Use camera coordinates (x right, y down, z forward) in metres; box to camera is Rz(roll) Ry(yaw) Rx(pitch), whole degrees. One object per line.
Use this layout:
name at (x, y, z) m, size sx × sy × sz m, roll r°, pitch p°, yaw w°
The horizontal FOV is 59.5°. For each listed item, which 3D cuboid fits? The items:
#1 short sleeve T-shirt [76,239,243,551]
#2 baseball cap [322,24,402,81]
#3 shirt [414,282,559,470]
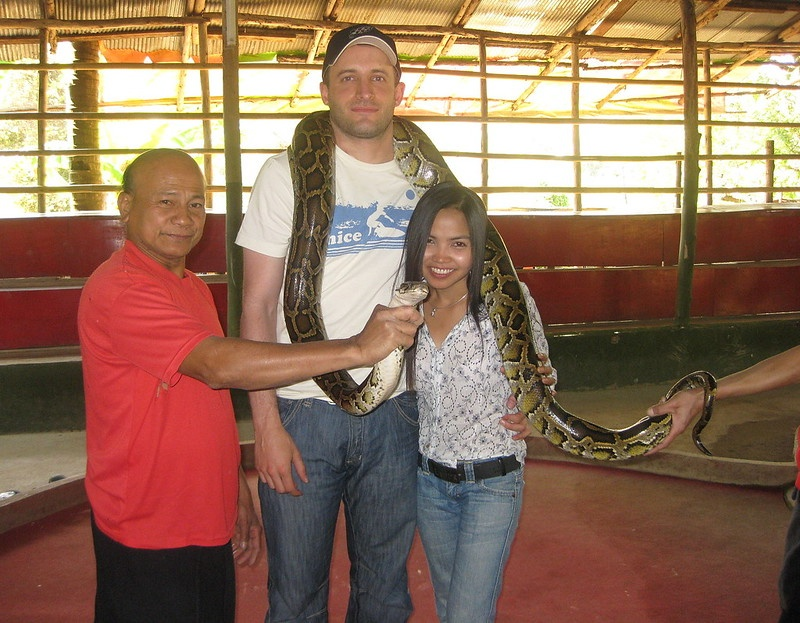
short sleeve T-shirt at (-1.298, 0.500, 3.781) m, size 0.859 × 1.598 × 0.541 m, roll 1°, pitch 3°, yaw -15°
baseball cap at (-0.251, -1.677, 4.551) m, size 0.307 × 0.421 × 0.407 m, roll 0°, pitch 19°, yaw -7°
shirt at (0.497, 0.368, 4.618) m, size 0.605 × 1.230 × 0.985 m, roll -17°, pitch 18°, yaw -10°
